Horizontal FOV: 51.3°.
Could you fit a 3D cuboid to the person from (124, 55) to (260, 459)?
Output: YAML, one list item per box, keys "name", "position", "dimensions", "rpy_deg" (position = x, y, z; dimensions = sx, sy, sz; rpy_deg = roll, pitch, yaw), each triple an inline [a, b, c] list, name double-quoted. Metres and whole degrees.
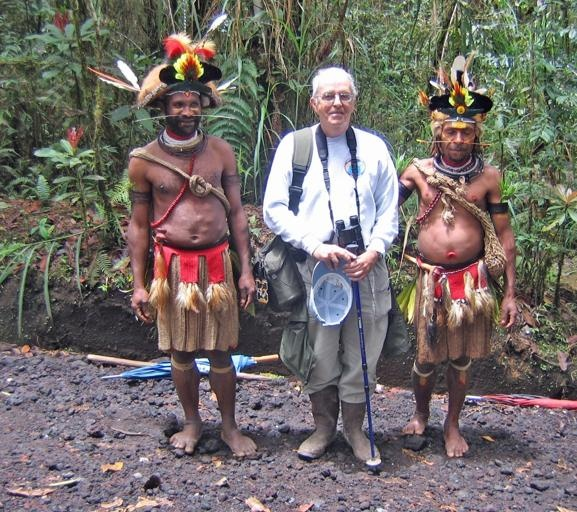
- name: "person"
  position: [-0.546, 0.025, 3.506]
  dimensions: [0.768, 2.294, 0.470]
  rpy_deg: [1, 12, -14]

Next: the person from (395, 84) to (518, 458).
- name: "person"
  position: [1.018, 0.101, 3.680]
  dimensions: [0.765, 2.238, 0.380]
  rpy_deg: [6, 12, 9]

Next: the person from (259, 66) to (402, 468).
- name: "person"
  position: [0.245, 0.081, 3.505]
  dimensions: [0.806, 2.266, 0.470]
  rpy_deg: [6, 12, 10]

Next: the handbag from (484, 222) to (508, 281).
- name: "handbag"
  position: [1.240, -0.019, 3.607]
  dimensions: [0.142, 0.338, 0.078]
  rpy_deg: [0, 13, -19]

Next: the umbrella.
- name: "umbrella"
  position: [-0.784, 0.802, 4.382]
  dimensions: [1.385, 0.108, 0.237]
  rpy_deg: [-7, -7, -6]
